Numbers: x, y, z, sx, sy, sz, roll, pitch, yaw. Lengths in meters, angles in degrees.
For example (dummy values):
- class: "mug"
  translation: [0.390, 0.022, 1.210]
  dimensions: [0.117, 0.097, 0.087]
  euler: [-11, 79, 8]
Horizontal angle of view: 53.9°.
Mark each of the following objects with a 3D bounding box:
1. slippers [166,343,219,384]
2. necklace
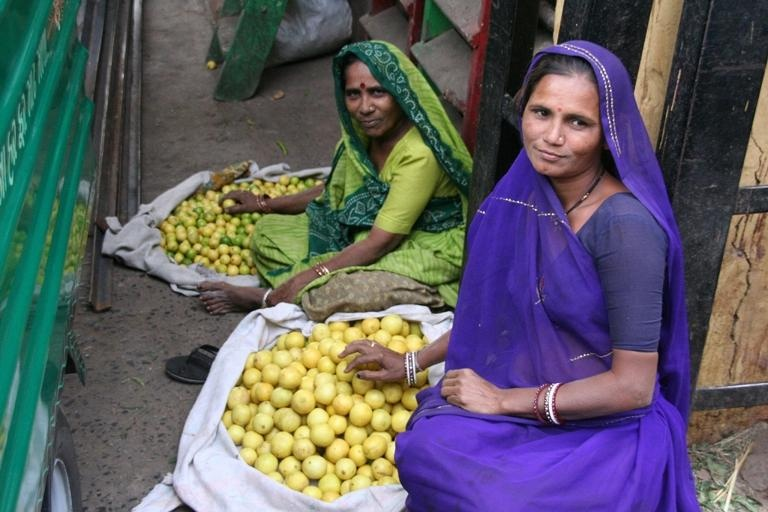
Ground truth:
- class: "slippers"
  translation: [-1.116, 0.606, 4.299]
  dimensions: [0.270, 0.163, 0.215]
  euler: [9, 16, 4]
- class: "necklace"
  translation: [0.835, -0.240, 3.095]
  dimensions: [0.026, 0.205, 0.150]
  euler: [26, -13, -27]
